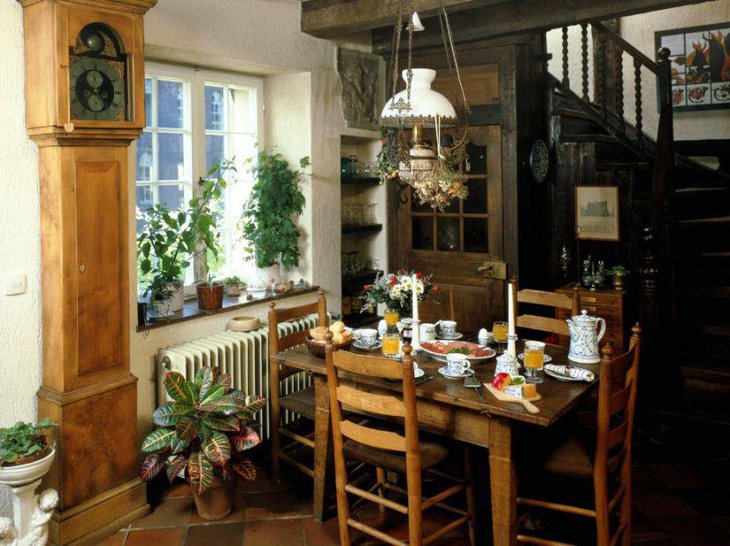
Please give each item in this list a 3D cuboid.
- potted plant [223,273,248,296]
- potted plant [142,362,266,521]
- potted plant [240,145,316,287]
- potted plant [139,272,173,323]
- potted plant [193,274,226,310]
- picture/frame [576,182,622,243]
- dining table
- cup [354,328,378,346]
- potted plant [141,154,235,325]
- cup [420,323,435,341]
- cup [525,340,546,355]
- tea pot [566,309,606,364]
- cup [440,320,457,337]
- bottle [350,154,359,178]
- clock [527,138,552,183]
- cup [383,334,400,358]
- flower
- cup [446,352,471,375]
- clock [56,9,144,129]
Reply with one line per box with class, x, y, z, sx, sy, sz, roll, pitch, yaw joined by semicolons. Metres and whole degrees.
potted plant;-1.019;0.105;4.910;0.155;0.149;0.153;0;-2;-19
potted plant;-0.978;1.000;4.077;0.880;0.892;0.876;-2;2;-14
potted plant;-0.741;-0.457;5.115;0.598;1.062;0.355;-3;9;-8
potted plant;-1.409;0.171;4.276;0.232;0.254;0.264;-4;1;20
potted plant;-1.133;0.142;4.581;0.174;0.216;0.208;-8;-10;21
picture/frame;2.260;-0.601;6.012;0.561;0.770;0.028;1;7;33
dining table;0.500;0.779;3.281;1.257;0.783;1.319;1;3;39
cup;-0.001;0.406;3.891;0.121;0.086;0.094;-1;0;17
potted plant;-1.298;-0.284;4.529;1.013;1.097;0.685;-9;11;-38
cup;0.393;0.385;3.976;0.081;0.080;0.108;-1;-1;-6
cup;0.989;0.425;3.617;0.106;0.109;0.135;1;-9;-14
tea pot;1.298;0.368;3.667;0.227;0.273;0.195;-2;4;-10
cup;0.556;0.368;4.105;0.100;0.081;0.105;0;-5;0
bottle;-0.100;-0.987;5.766;0.047;0.184;0.184;0;9;13
clock;1.575;-1.039;5.693;0.080;0.601;0.475;0;4;29
cup;0.142;0.429;3.618;0.116;0.121;0.116;0;-2;0
flower;0.264;0.167;4.292;0.572;0.342;0.478;-1;6;-25
cup;0.522;0.510;3.487;0.121;0.094;0.100;2;3;21
clock;-1.503;-1.136;3.516;0.379;0.555;0.045;-10;12;-43
